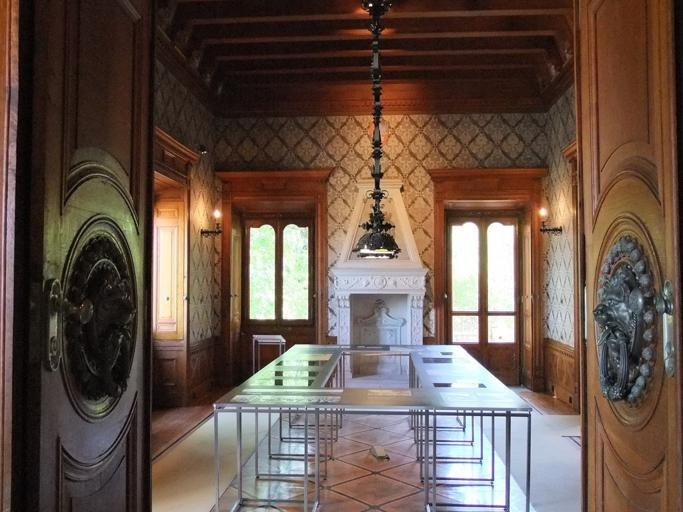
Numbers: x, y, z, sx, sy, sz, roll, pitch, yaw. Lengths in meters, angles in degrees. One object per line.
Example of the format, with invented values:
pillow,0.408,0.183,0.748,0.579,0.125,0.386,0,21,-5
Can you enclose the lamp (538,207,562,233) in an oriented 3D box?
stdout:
lamp,2.909,-0.458,7.940,0.240,0.448,0.405,1,-3,-2
